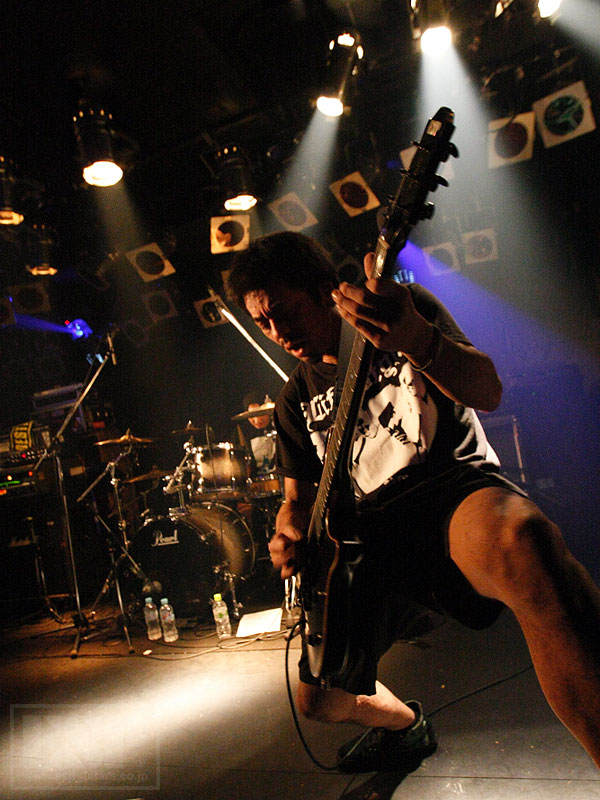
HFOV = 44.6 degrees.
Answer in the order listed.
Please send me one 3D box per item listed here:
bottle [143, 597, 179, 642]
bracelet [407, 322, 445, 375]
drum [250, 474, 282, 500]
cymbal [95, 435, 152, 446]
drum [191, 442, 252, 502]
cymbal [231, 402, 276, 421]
[{"bbox_3d":[-0.980,1.544,5.154,0.241,0.283,0.120,-26,-23,27],"label":"bottle"},{"bbox_3d":[0.386,-0.161,2.241,0.120,0.128,0.049,-25,47,-30],"label":"bracelet"},{"bbox_3d":[-0.259,0.676,5.701,0.212,0.225,0.358,6,-18,-17],"label":"drum"},{"bbox_3d":[-1.468,0.336,5.903,0.313,0.065,0.302,-2,-3,23],"label":"cymbal"},{"bbox_3d":[-0.678,0.613,5.874,0.613,0.394,0.565,-3,-21,-1],"label":"drum"},{"bbox_3d":[-0.395,0.103,6.750,0.315,0.064,0.330,-6,6,29],"label":"cymbal"}]
